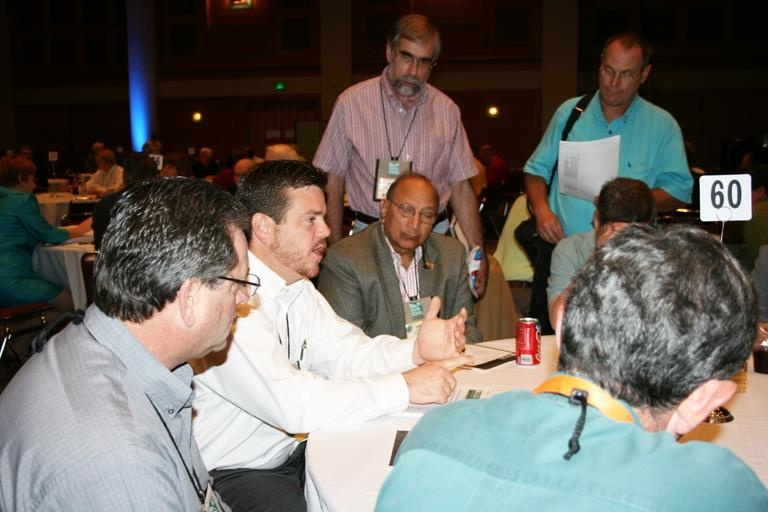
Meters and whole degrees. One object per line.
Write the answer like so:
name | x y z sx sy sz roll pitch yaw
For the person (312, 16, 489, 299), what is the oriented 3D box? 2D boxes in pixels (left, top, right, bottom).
person | 0.108 -0.213 3.554 1.177 2.457 0.749 3 10 8

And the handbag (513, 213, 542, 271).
handbag | 0.884 -0.084 3.488 0.101 0.274 0.211 -1 25 -10

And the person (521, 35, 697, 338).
person | 1.306 -0.190 3.536 0.919 2.252 0.647 12 20 27

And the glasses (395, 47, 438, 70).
glasses | 0.197 -1.124 3.186 0.253 0.100 0.109 -7 12 -31

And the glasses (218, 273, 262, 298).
glasses | -0.390 0.076 1.529 0.092 0.031 0.091 6 -2 -3
